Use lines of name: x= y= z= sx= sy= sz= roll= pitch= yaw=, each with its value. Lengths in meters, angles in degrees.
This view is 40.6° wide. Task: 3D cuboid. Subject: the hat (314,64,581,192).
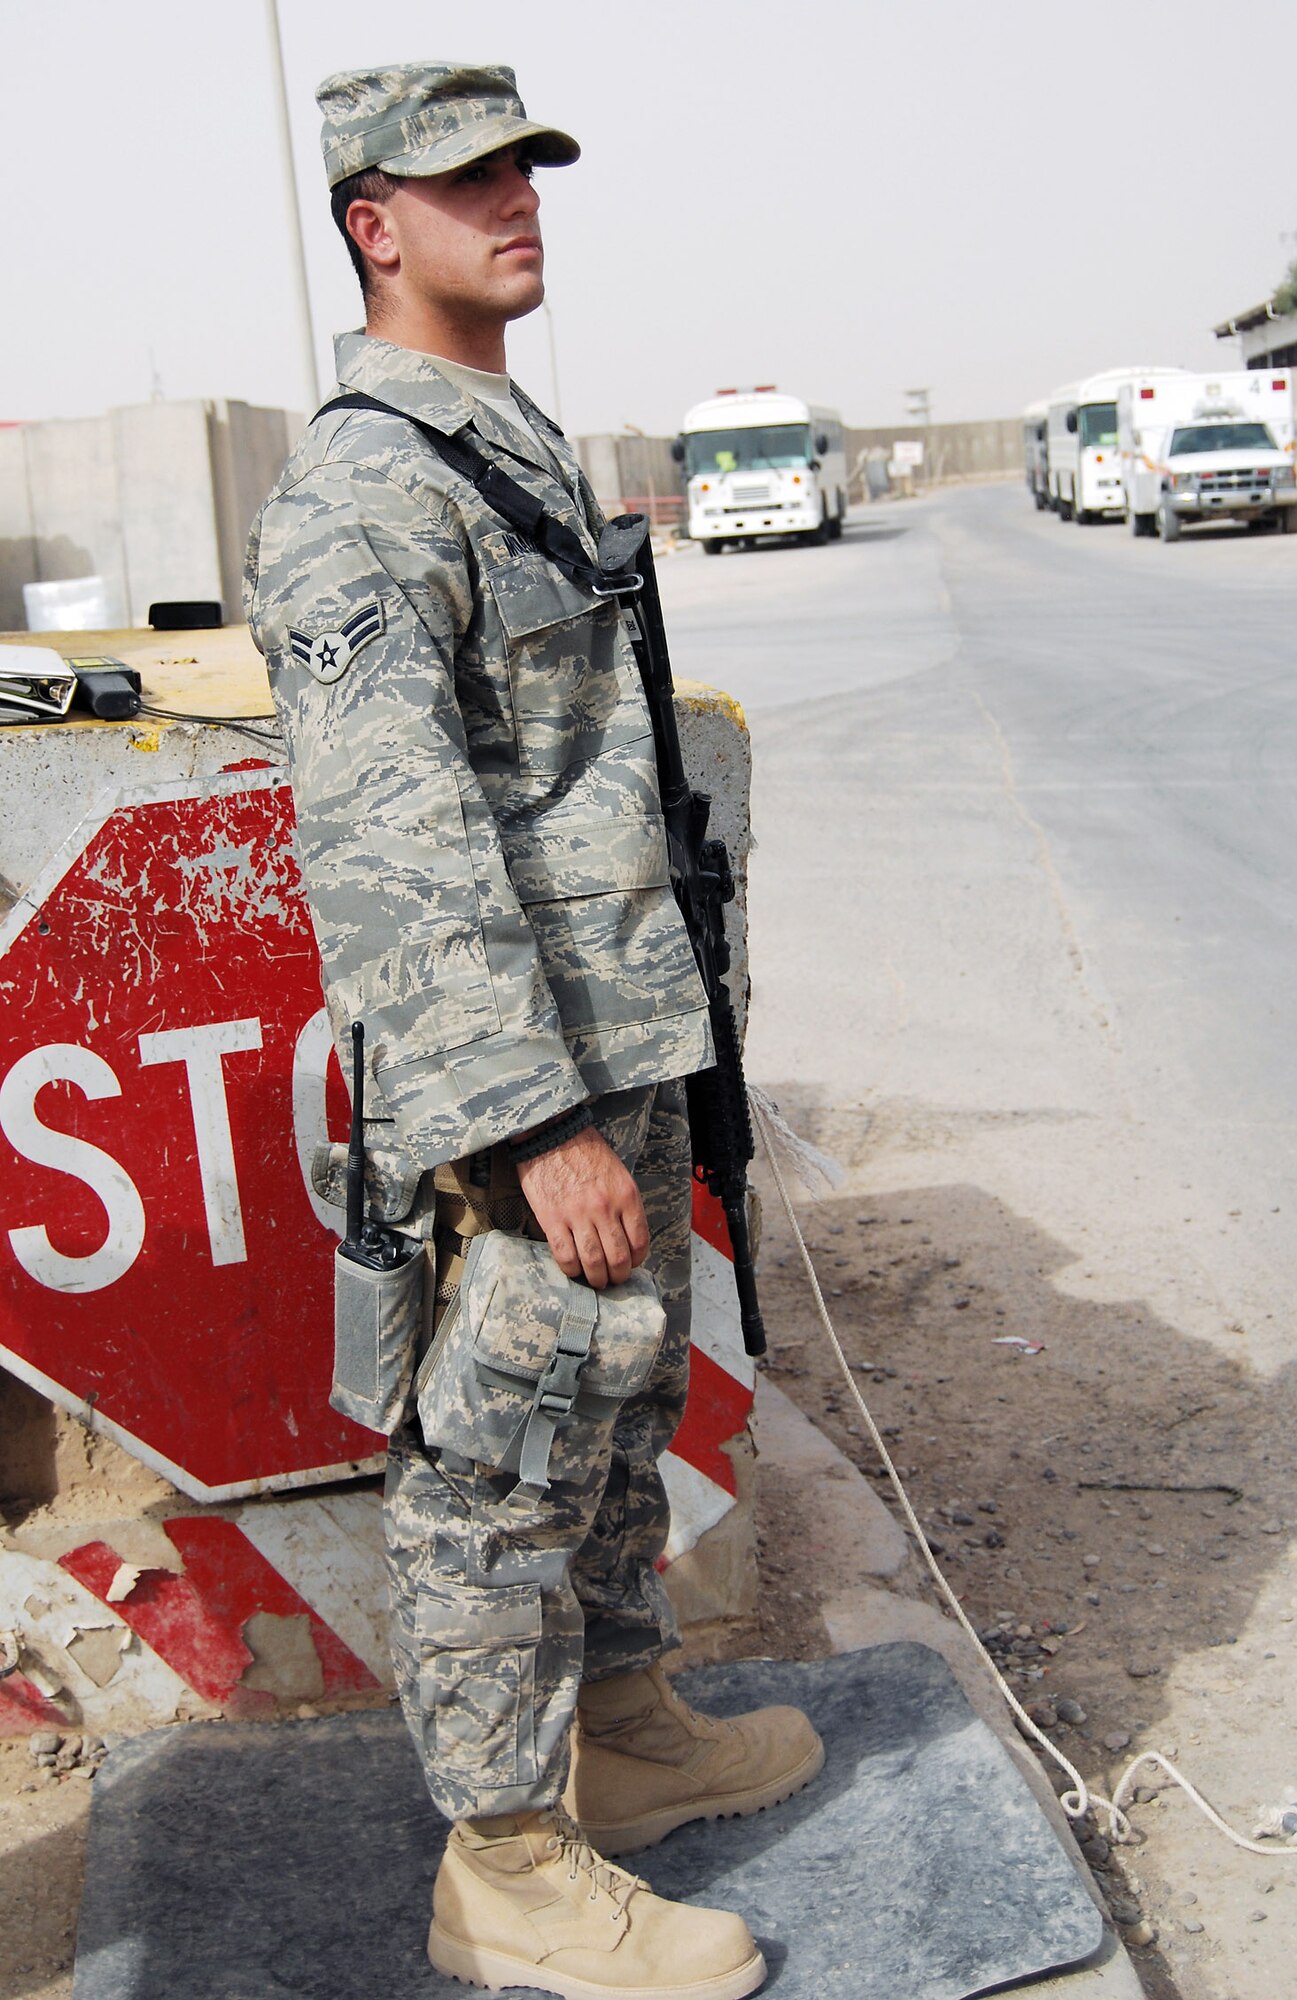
hat: x=-0.219 y=-0.866 z=1.726 sx=0.217 sy=0.116 sz=0.131 roll=-4 pitch=13 yaw=-3

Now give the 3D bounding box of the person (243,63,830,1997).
person: x=-0.121 y=0.069 z=1.717 sx=0.507 sy=1.949 sz=0.650 roll=-3 pitch=14 yaw=4
